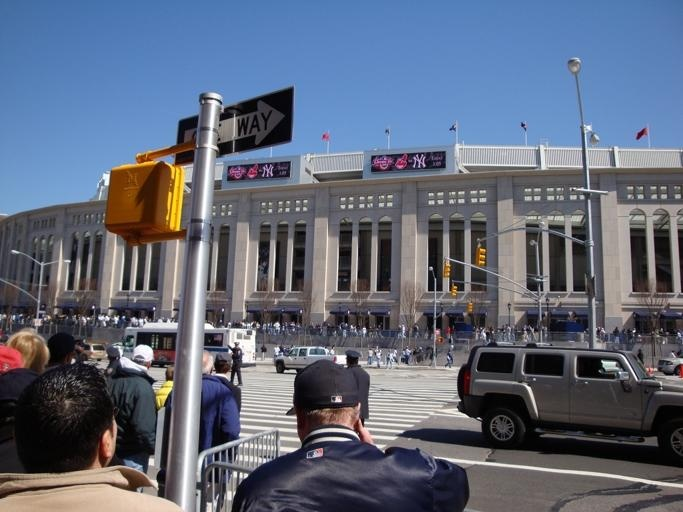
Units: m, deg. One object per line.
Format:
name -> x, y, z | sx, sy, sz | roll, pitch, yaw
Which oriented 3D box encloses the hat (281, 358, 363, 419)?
hat -> -0.096, 0.865, 3.829 | 0.299, 0.247, 0.442 | 4, -15, -18
